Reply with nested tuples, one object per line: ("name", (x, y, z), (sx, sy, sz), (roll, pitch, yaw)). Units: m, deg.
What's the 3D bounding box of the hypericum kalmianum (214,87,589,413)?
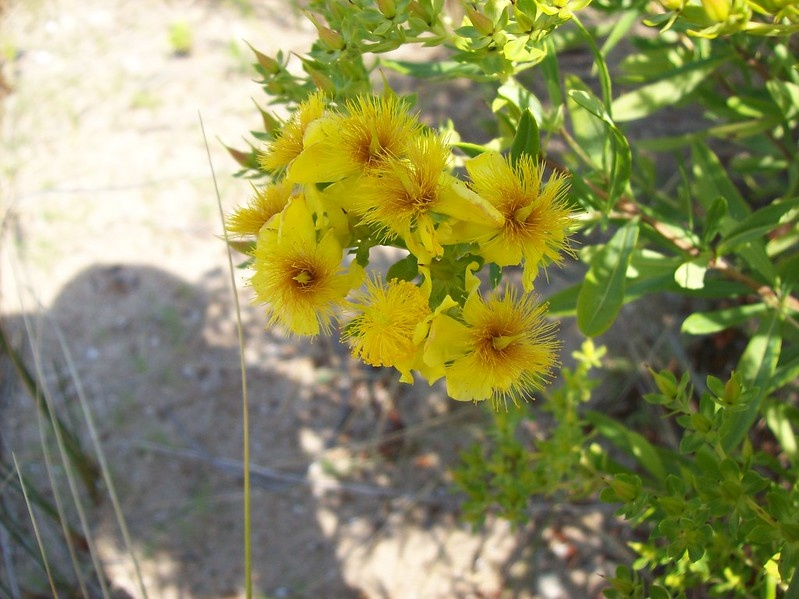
("hypericum kalmianum", (-0.007, -0.167, 2.297), (0.728, 0.466, 0.685), (20, 99, -8))
